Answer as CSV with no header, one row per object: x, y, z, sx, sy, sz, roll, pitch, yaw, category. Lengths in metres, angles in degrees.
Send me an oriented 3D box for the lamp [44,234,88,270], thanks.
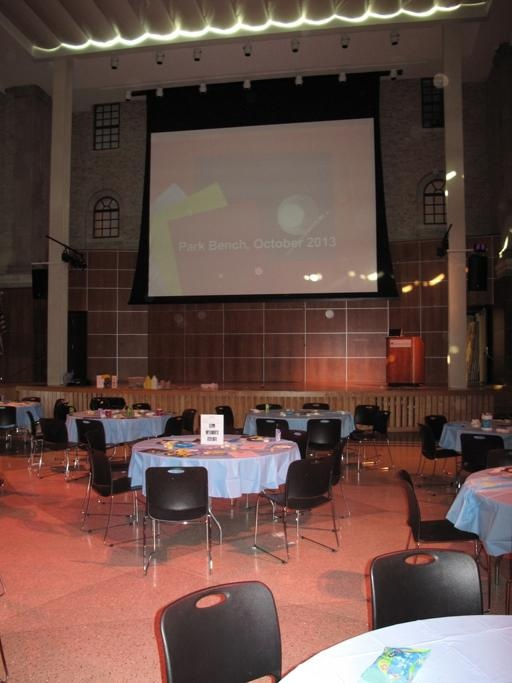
-3.733,-1.722,12.086,0.528,0.542,1.819,0,-1,-11,lamp

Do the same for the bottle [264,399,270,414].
0.152,0.915,8.274,0.067,0.151,0.074,0,-3,-1,bottle

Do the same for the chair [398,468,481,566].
1.151,1.150,3.876,0.453,0.747,0.393,-4,4,11,chair

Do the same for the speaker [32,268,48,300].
-4.315,-1.198,12.105,0.258,0.610,0.355,0,-1,-17,speaker

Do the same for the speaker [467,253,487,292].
3.495,-1.107,9.578,0.273,0.577,0.240,0,-1,10,speaker
